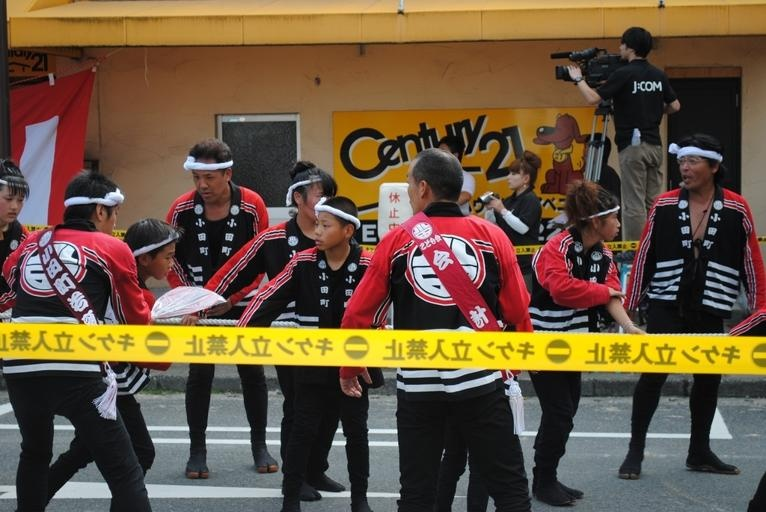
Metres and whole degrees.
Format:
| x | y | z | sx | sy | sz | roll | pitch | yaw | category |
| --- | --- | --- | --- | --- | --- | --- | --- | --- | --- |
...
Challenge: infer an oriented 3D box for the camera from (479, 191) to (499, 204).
| x | y | z | sx | sy | sz | roll | pitch | yaw | category |
| --- | --- | --- | --- | --- | --- | --- | --- | --- | --- |
| 1.277 | -0.714 | 15.414 | 0.247 | 0.128 | 0.142 | -12 | -14 | -46 | camera |

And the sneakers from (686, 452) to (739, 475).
| x | y | z | sx | sy | sz | roll | pitch | yaw | category |
| --- | --- | --- | --- | --- | --- | --- | --- | --- | --- |
| 3.200 | 2.002 | 12.501 | 0.541 | 0.206 | 0.189 | -1 | -1 | 12 | sneakers |

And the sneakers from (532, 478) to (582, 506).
| x | y | z | sx | sy | sz | roll | pitch | yaw | category |
| --- | --- | --- | --- | --- | --- | --- | --- | --- | --- |
| 1.621 | 2.177 | 11.981 | 0.372 | 0.141 | 0.240 | -3 | 2 | 22 | sneakers |

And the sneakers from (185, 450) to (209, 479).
| x | y | z | sx | sy | sz | roll | pitch | yaw | category |
| --- | --- | --- | --- | --- | --- | --- | --- | --- | --- |
| -1.809 | 2.018 | 12.462 | 0.136 | 0.226 | 0.375 | 4 | -21 | -10 | sneakers |

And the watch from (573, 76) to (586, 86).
| x | y | z | sx | sy | sz | roll | pitch | yaw | category |
| --- | --- | --- | --- | --- | --- | --- | --- | --- | --- |
| 2.303 | -2.066 | 15.001 | 0.111 | 0.074 | 0.116 | -17 | -4 | -15 | watch |
